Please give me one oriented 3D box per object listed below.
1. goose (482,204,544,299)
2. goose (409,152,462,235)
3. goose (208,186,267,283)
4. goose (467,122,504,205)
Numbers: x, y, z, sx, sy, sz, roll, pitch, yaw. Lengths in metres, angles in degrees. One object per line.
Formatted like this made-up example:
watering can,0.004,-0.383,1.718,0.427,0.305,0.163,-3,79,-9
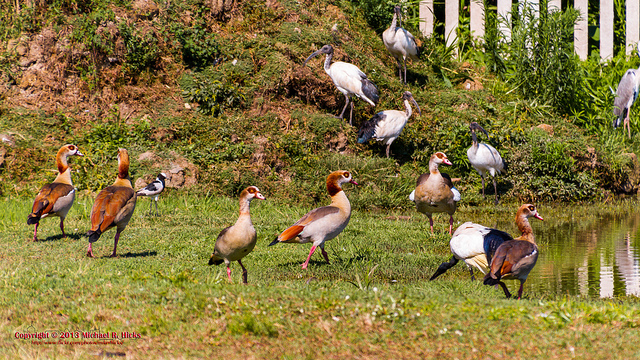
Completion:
goose,5.470,2.147,28.040,2.103,2.790,1.135,-6,9,-37
goose,3.768,0.468,31.994,1.446,2.072,1.462,2,-1,8
goose,-2.256,1.589,28.300,1.373,2.759,2.304,2,-1,-1
goose,6.066,-0.557,35.999,1.904,3.030,1.029,-2,-2,-43
